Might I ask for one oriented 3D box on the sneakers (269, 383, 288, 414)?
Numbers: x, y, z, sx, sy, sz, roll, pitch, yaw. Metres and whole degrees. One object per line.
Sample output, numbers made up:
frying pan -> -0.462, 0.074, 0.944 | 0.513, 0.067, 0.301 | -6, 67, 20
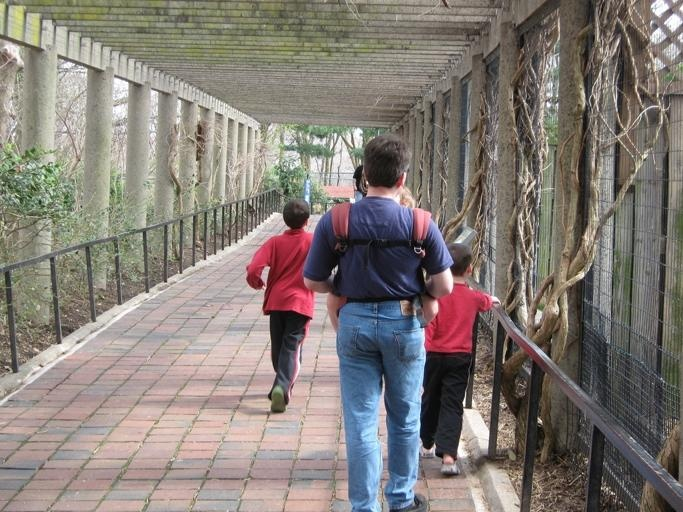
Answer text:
sneakers -> -0.454, 1.028, 4.488 | 0.078, 0.262, 0.115 | 1, 36, 0

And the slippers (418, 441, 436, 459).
slippers -> 0.533, 1.207, 3.897 | 0.069, 0.087, 0.079 | 1, -6, 1

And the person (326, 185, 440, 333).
person -> 0.195, -0.004, 3.438 | 0.773, 1.042, 0.620 | 0, 1, -2
